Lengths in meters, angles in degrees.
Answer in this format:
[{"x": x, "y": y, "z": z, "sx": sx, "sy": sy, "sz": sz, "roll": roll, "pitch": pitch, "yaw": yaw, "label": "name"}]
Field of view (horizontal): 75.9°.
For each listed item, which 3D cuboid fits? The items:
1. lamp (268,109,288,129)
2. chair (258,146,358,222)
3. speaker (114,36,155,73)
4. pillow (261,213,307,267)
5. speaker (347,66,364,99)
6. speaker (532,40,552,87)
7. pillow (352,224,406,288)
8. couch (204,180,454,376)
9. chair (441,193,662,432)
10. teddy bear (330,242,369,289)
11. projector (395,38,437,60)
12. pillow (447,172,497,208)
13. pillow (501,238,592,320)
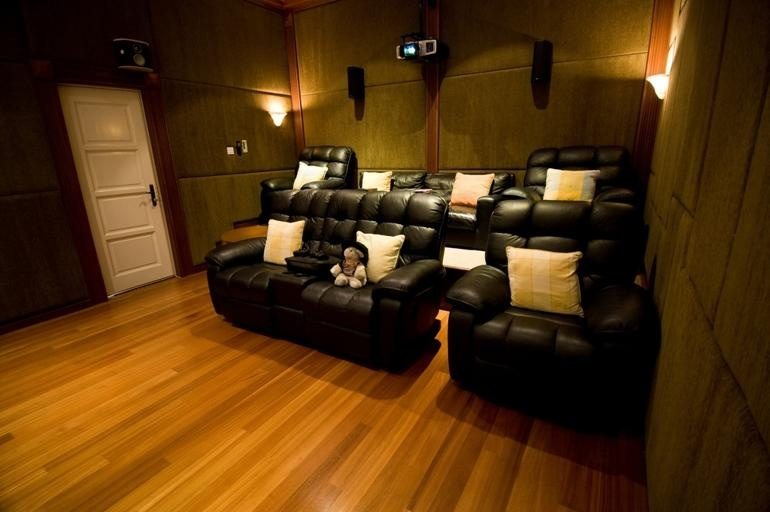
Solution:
[{"x": -1.613, "y": -2.110, "z": 7.538, "sx": 0.249, "sy": 0.186, "sz": 0.252, "roll": 2, "pitch": 17, "yaw": 22, "label": "lamp"}, {"x": -1.167, "y": -1.055, "z": 7.272, "sx": 1.376, "sy": 1.039, "sz": 1.315, "roll": -4, "pitch": 18, "yaw": -13, "label": "chair"}, {"x": -2.842, "y": -2.259, "z": 5.611, "sx": 0.217, "sy": 0.338, "sz": 0.397, "roll": -7, "pitch": 13, "yaw": 28, "label": "speaker"}, {"x": -0.998, "y": -0.132, "z": 4.942, "sx": 0.474, "sy": 0.453, "sz": 0.174, "roll": 6, "pitch": -1, "yaw": 26, "label": "pillow"}, {"x": -0.401, "y": -2.502, "z": 7.154, "sx": 0.260, "sy": 0.446, "sz": 0.237, "roll": -3, "pitch": 19, "yaw": 4, "label": "speaker"}, {"x": 1.874, "y": -2.313, "z": 5.889, "sx": 0.197, "sy": 0.483, "sz": 0.234, "roll": 13, "pitch": 22, "yaw": 32, "label": "speaker"}, {"x": -0.084, "y": -0.007, "z": 4.432, "sx": 0.403, "sy": 0.370, "sz": 0.217, "roll": 10, "pitch": 29, "yaw": 23, "label": "pillow"}, {"x": -0.586, "y": 0.049, "z": 4.829, "sx": 2.387, "sy": 1.343, "sz": 1.247, "roll": 8, "pitch": 18, "yaw": 31, "label": "couch"}, {"x": 1.330, "y": 0.347, "z": 3.976, "sx": 1.756, "sy": 1.378, "sz": 1.648, "roll": -14, "pitch": 26, "yaw": -18, "label": "chair"}, {"x": -0.309, "y": 0.073, "z": 4.360, "sx": 0.324, "sy": 0.405, "sz": 0.256, "roll": 0, "pitch": 12, "yaw": -5, "label": "teddy bear"}, {"x": 0.431, "y": -2.602, "z": 6.191, "sx": 0.397, "sy": 0.168, "sz": 0.295, "roll": -18, "pitch": 31, "yaw": -26, "label": "projector"}, {"x": 1.037, "y": -0.858, "z": 6.143, "sx": 0.519, "sy": 0.417, "sz": 0.247, "roll": 5, "pitch": 50, "yaw": -4, "label": "pillow"}, {"x": 1.289, "y": 0.202, "z": 3.868, "sx": 0.624, "sy": 0.562, "sz": 0.241, "roll": 1, "pitch": 1, "yaw": 19, "label": "pillow"}]
